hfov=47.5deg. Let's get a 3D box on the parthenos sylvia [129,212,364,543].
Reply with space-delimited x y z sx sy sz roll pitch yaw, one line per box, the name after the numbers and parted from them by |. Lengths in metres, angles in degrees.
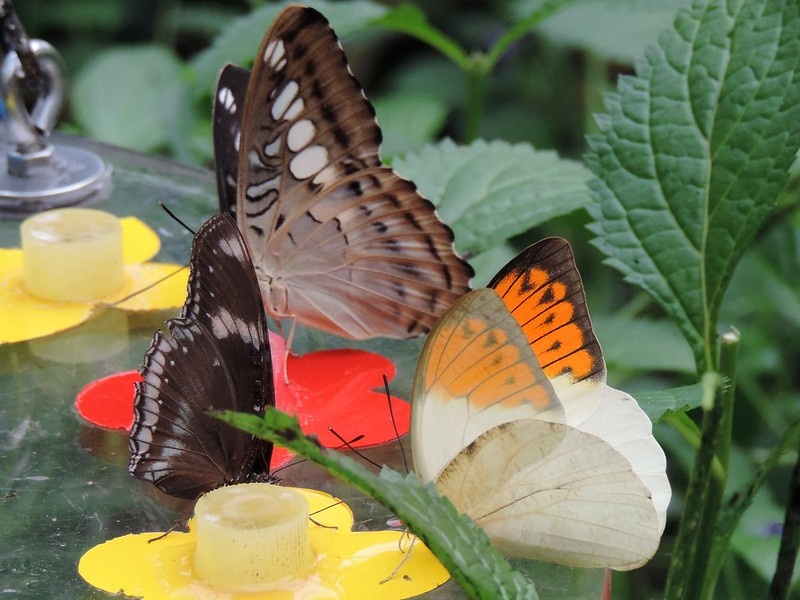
-0.278 0.090 1.329 0.216 0.407 0.204 2 34 -11 | parthenos sylvia
